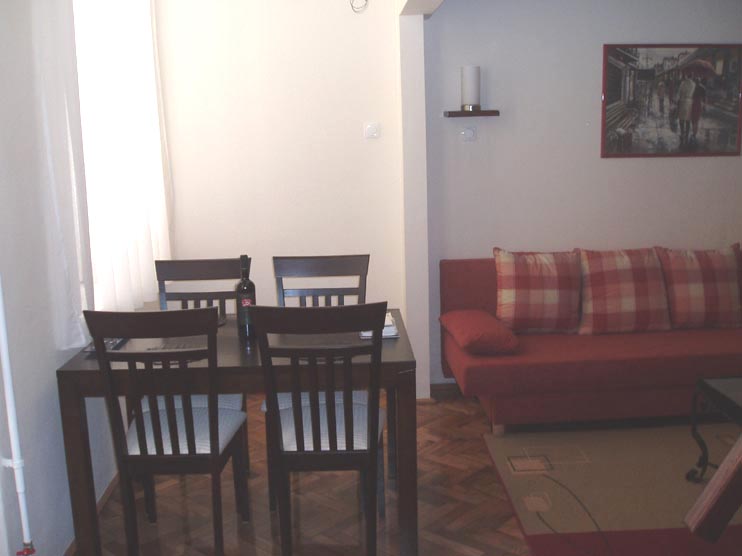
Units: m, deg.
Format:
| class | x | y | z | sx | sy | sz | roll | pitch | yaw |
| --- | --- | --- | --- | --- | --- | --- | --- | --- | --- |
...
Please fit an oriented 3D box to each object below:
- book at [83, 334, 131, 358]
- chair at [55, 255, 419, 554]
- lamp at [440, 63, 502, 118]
| class | x | y | z | sx | sy | sz | roll | pitch | yaw |
| --- | --- | --- | --- | --- | --- | --- | --- | --- | --- |
| book | -1.233 | 0.320 | 2.976 | 0.164 | 0.042 | 0.157 | -2 | 13 | -3 |
| chair | -0.652 | 0.643 | 2.993 | 1.167 | 0.801 | 0.796 | -2 | 15 | -2 |
| lamp | 0.658 | -1.224 | 4.234 | 0.377 | 0.326 | 0.218 | -4 | 10 | -7 |
